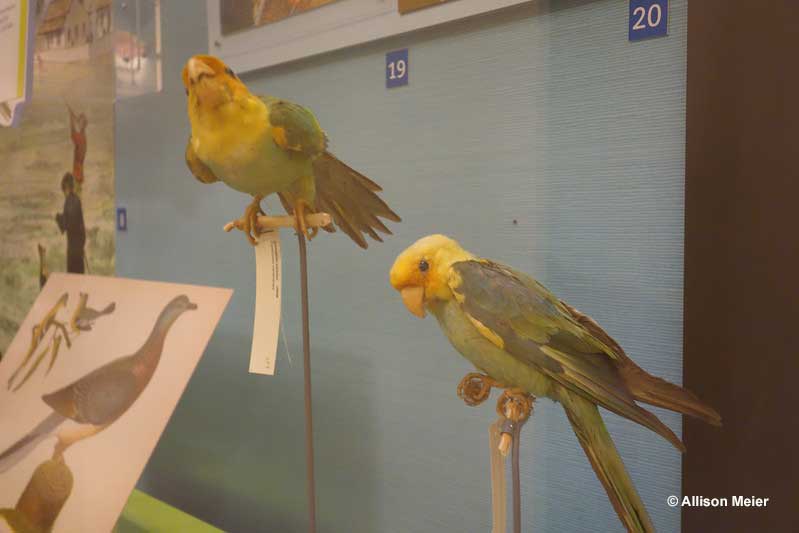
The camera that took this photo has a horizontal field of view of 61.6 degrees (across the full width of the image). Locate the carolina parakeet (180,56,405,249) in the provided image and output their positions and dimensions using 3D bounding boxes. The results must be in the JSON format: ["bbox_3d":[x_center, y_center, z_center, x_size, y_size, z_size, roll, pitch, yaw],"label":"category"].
[{"bbox_3d":[-0.164,-0.223,1.520,0.244,0.334,0.623,-13,-3,24],"label":"carolina parakeet"}]

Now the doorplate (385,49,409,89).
[{"bbox_3d":[-0.005,-0.499,1.671,0.094,0.124,0.005,2,3,31],"label":"doorplate"}]
